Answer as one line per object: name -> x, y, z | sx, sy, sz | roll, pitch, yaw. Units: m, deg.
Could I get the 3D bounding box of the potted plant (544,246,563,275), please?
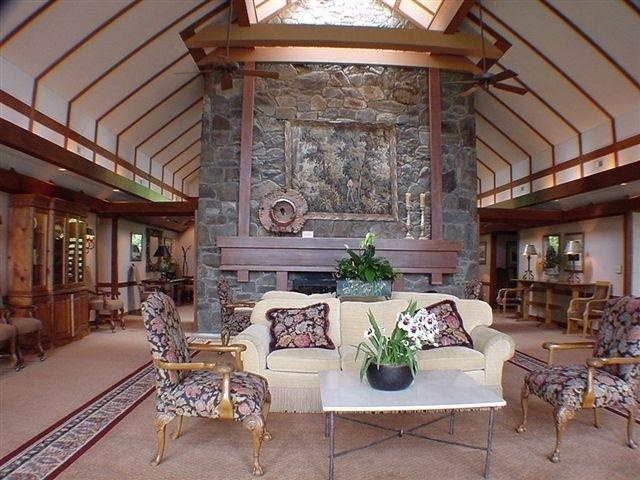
potted plant -> 5.191, 0.456, 10.468 | 0.360, 0.608, 0.503 | 6, 14, 26

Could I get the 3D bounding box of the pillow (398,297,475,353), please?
pillow -> 1.525, 0.995, 5.503 | 0.563, 0.479, 0.153 | 0, -30, -11

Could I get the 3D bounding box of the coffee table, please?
coffee table -> 0.823, 1.684, 4.528 | 1.656, 0.754, 1.026 | -1, 11, -5

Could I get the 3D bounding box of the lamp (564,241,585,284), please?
lamp -> 5.496, 0.454, 10.157 | 0.375, 0.926, 0.602 | 7, 15, 28

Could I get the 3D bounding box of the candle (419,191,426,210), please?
candle -> 1.826, -0.699, 8.319 | 0.122, 0.261, 0.399 | 2, 11, 11

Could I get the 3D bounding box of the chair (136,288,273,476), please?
chair -> -1.098, 1.297, 4.480 | 1.133, 1.477, 0.973 | -1, 13, -1

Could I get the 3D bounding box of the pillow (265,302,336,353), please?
pillow -> -0.228, 1.003, 5.463 | 0.621, 0.494, 0.164 | -1, -33, -3

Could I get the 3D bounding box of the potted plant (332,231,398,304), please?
potted plant -> 0.582, 0.412, 6.676 | 1.020, 0.777, 0.926 | 0, -5, 0

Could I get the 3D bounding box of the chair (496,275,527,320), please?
chair -> 4.885, 1.525, 12.089 | 1.113, 1.138, 1.033 | 0, -4, 7

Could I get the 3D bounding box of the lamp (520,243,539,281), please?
lamp -> 5.131, 0.546, 11.551 | 0.307, 0.925, 0.899 | 5, 13, 23

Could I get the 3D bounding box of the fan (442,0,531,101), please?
fan -> 2.670, -3.130, 7.749 | 1.222, 1.556, 2.109 | 3, 12, 13

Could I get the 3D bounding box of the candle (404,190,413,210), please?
candle -> 1.580, -0.701, 8.399 | 0.130, 0.289, 0.251 | 2, 12, 8

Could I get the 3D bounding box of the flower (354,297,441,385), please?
flower -> 0.701, 1.059, 4.646 | 0.821, 0.718, 0.876 | 6, -11, -33

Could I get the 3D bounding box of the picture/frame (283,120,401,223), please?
picture/frame -> 0.333, -1.171, 8.423 | 2.312, 1.631, 0.163 | 0, -3, -2

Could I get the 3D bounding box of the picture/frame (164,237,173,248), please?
picture/frame -> -4.363, 0.067, 13.483 | 0.038, 0.304, 0.348 | -4, -1, 29
